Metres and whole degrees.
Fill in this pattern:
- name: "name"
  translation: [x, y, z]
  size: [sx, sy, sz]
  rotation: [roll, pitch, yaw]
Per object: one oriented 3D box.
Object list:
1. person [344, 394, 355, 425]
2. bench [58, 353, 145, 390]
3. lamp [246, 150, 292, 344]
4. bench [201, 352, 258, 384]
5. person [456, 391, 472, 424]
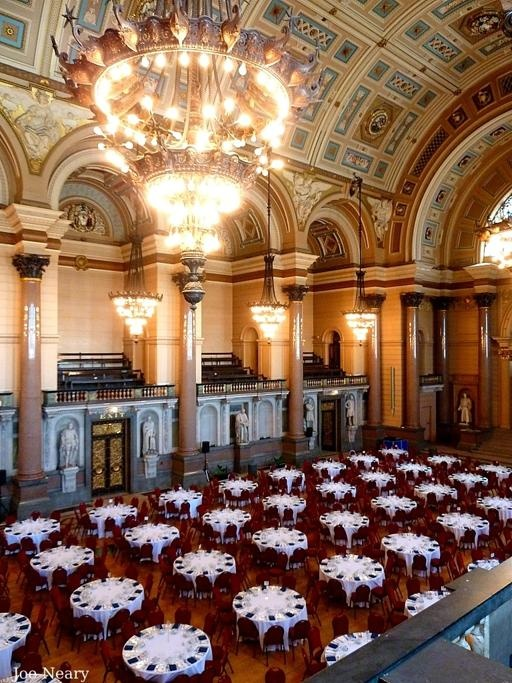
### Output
- name: "person"
  translation: [3.589, 2.635, 18.284]
  size: [0.570, 1.174, 0.269]
  rotation: [11, -5, -42]
- name: "bench"
  translation: [-4.620, 0.826, 14.351]
  size: [2.386, 1.063, 3.484]
  rotation: [10, -4, -22]
- name: "lamp"
  translation: [0.345, -2.261, 12.292]
  size: [0.977, 4.302, 1.002]
  rotation: [0, 8, 5]
- name: "bench"
  translation: [-1.043, 0.907, 17.067]
  size: [1.789, 0.854, 2.993]
  rotation: [9, -4, -6]
- name: "person"
  translation: [8.289, 2.657, 19.260]
  size: [0.411, 1.361, 0.715]
  rotation: [10, -4, -27]
